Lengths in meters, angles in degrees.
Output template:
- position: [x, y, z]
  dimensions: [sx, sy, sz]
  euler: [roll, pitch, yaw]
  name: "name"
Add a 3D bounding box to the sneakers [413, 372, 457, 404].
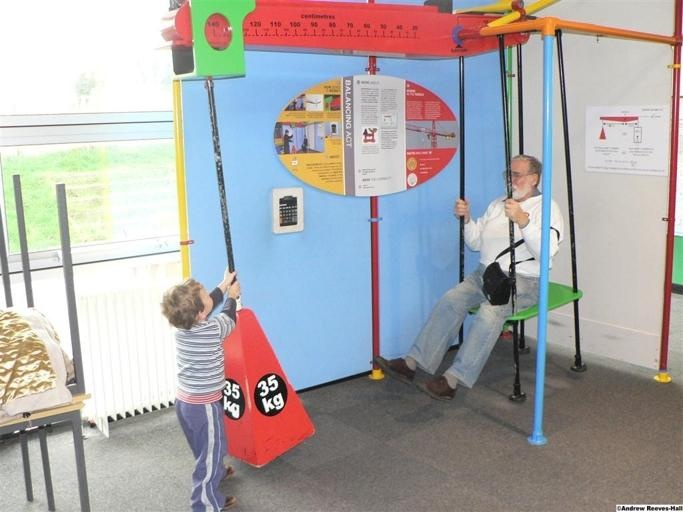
- position: [0.633, 0.871, 3.740]
  dimensions: [0.314, 0.166, 0.132]
  euler: [24, 7, -24]
  name: "sneakers"
